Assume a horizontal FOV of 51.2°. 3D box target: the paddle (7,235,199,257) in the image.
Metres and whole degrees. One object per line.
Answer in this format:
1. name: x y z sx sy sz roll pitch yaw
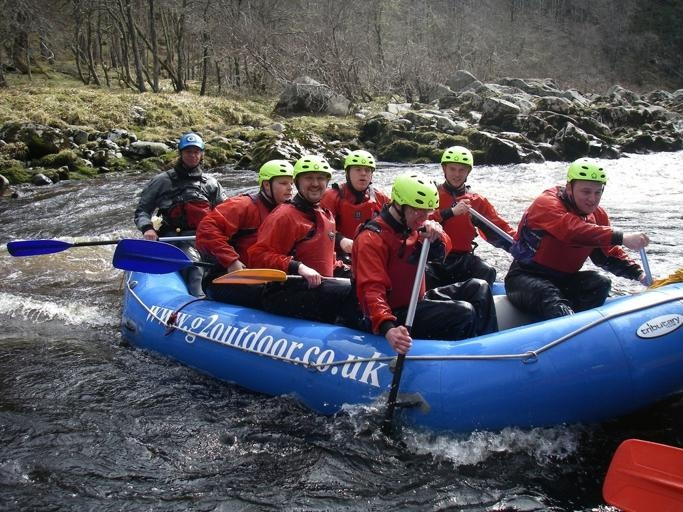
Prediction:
1. paddle: -3.231 -0.133 9.775 2.766 0.259 0.273 -2 26 1

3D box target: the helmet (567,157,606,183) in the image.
1. helmet: 2.669 -0.926 7.807 0.319 0.284 0.341 3 -10 -7

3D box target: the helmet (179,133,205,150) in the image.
1. helmet: -2.084 -1.583 9.813 0.315 0.223 0.306 -3 13 -11
